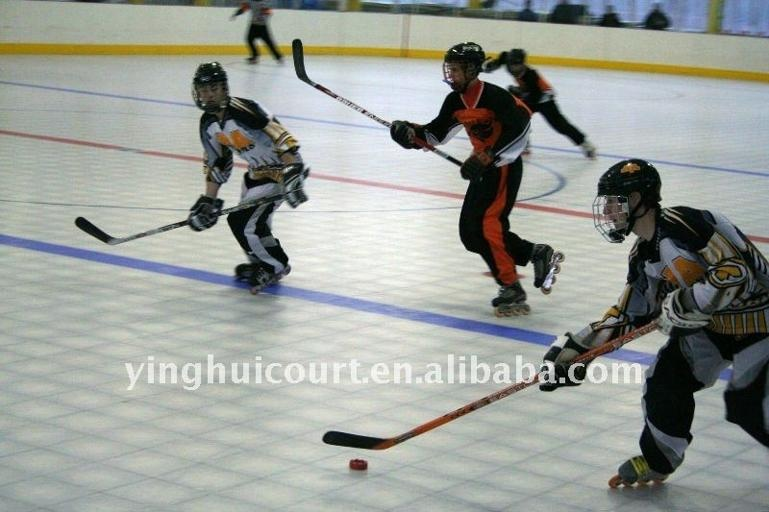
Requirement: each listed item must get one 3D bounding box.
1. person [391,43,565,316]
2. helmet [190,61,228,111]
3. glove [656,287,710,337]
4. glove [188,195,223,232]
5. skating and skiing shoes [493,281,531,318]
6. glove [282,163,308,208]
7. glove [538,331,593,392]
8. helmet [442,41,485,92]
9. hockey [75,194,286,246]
[{"bbox_3d":[0.969,-0.562,5.530,1.547,1.728,1.224,-10,19,-36],"label":"person"},{"bbox_3d":[-1.144,-1.130,5.045,0.237,0.327,0.259,0,21,-9],"label":"helmet"},{"bbox_3d":[1.210,0.226,3.058,0.111,0.205,0.142,-10,25,-28],"label":"glove"},{"bbox_3d":[-1.233,-0.298,5.247,0.226,0.236,0.221,-1,20,-9],"label":"glove"},{"bbox_3d":[0.855,0.287,5.054,0.254,0.220,0.157,0,21,-8],"label":"skating and skiing shoes"},{"bbox_3d":[-0.602,-0.479,5.169,0.171,0.342,0.252,1,21,-6],"label":"glove"},{"bbox_3d":[0.771,0.490,3.432,0.298,0.221,0.219,1,-5,0],"label":"glove"},{"bbox_3d":[0.547,-1.292,5.155,0.265,0.329,0.263,5,21,4],"label":"helmet"},{"bbox_3d":[-1.273,-0.302,4.941,0.093,0.186,1.726,35,30,24],"label":"hockey"}]
